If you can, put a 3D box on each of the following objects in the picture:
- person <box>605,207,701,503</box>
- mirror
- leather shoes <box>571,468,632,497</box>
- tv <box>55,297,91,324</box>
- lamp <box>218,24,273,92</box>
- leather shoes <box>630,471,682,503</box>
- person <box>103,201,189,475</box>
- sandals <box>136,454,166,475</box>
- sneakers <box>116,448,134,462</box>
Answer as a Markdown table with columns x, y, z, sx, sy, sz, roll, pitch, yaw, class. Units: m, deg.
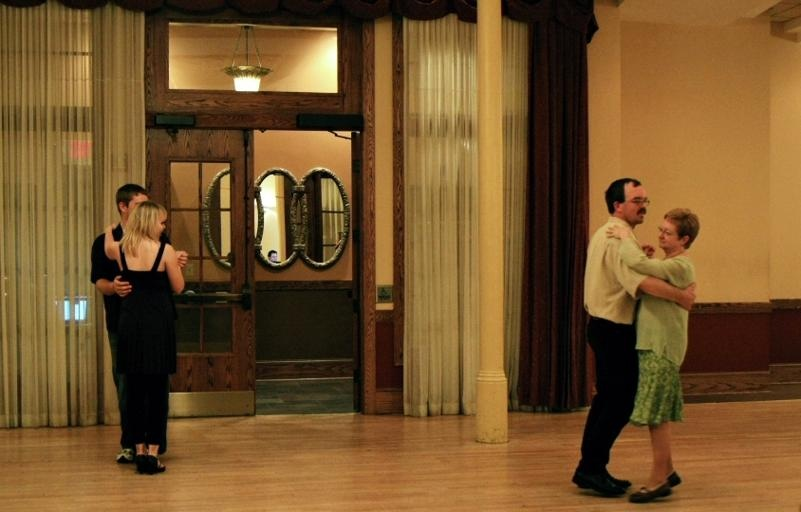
| x | y | z | sx | sy | sz | roll | pitch | yaw | class |
| --- | --- | --- | --- | --- | --- | --- | --- | --- | --- |
| 2.116 | 0.802 | 7.753 | 0.740 | 2.352 | 0.512 | -6 | 11 | -34 | person |
| -1.561 | -0.431 | 11.277 | 1.371 | 1.053 | 0.107 | -1 | -1 | -4 | mirror |
| 1.675 | 1.893 | 7.783 | 0.326 | 0.141 | 0.246 | 4 | -1 | 7 | leather shoes |
| -3.330 | 0.541 | 9.468 | 0.318 | 0.312 | 0.232 | 1 | -3 | -10 | tv |
| -1.686 | -2.095 | 10.007 | 0.632 | 1.017 | 0.635 | -2 | 5 | -7 | lamp |
| 2.141 | 1.914 | 7.748 | 0.526 | 0.216 | 0.188 | -10 | -3 | -17 | leather shoes |
| -2.248 | 0.715 | 8.223 | 0.502 | 2.309 | 0.523 | 3 | 10 | 18 | person |
| -2.204 | 1.825 | 8.147 | 0.134 | 0.120 | 0.243 | 1 | 2 | -7 | sandals |
| -2.491 | 1.807 | 8.475 | 0.103 | 0.079 | 0.190 | 2 | 3 | -8 | sneakers |
